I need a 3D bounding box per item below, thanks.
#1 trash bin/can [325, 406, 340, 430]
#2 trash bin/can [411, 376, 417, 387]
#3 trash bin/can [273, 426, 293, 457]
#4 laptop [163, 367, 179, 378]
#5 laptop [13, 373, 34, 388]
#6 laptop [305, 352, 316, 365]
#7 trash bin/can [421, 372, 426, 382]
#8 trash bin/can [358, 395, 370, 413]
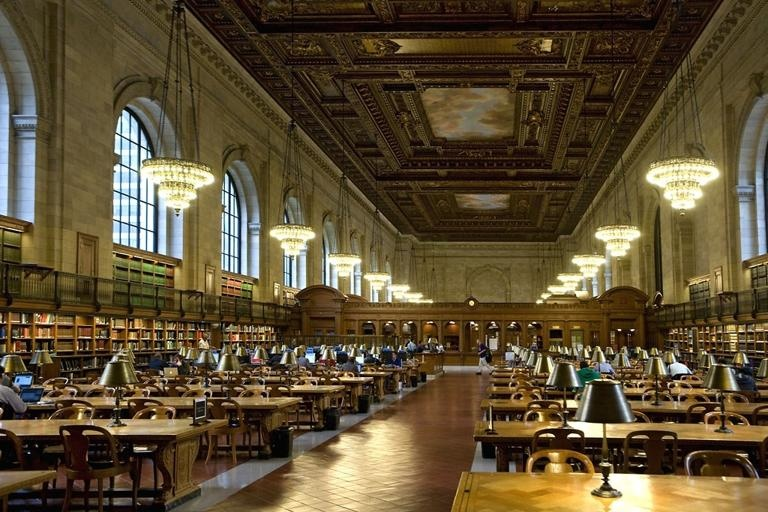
[{"bbox_3d":[-1.116,3.506,14.381,0.339,0.401,0.560,0,-6,5],"label":"trash bin/can"},{"bbox_3d":[1.097,4.637,24.483,0.284,0.448,0.297,0,-9,13],"label":"trash bin/can"},{"bbox_3d":[-1.802,3.309,11.788,0.524,0.510,0.416,0,-13,0],"label":"trash bin/can"},{"bbox_3d":[-5.240,2.832,16.048,0.309,0.218,0.216,1,4,0],"label":"laptop"},{"bbox_3d":[-6.882,2.357,12.486,0.466,0.284,0.376,0,-13,-7],"label":"laptop"},{"bbox_3d":[-2.221,3.067,19.916,0.397,0.451,0.269,-1,-26,-3],"label":"laptop"},{"bbox_3d":[1.583,4.917,26.859,0.260,0.480,0.275,-1,-11,6],"label":"trash bin/can"},{"bbox_3d":[-0.533,3.820,17.048,0.406,0.479,0.335,-1,-14,3],"label":"trash bin/can"}]
